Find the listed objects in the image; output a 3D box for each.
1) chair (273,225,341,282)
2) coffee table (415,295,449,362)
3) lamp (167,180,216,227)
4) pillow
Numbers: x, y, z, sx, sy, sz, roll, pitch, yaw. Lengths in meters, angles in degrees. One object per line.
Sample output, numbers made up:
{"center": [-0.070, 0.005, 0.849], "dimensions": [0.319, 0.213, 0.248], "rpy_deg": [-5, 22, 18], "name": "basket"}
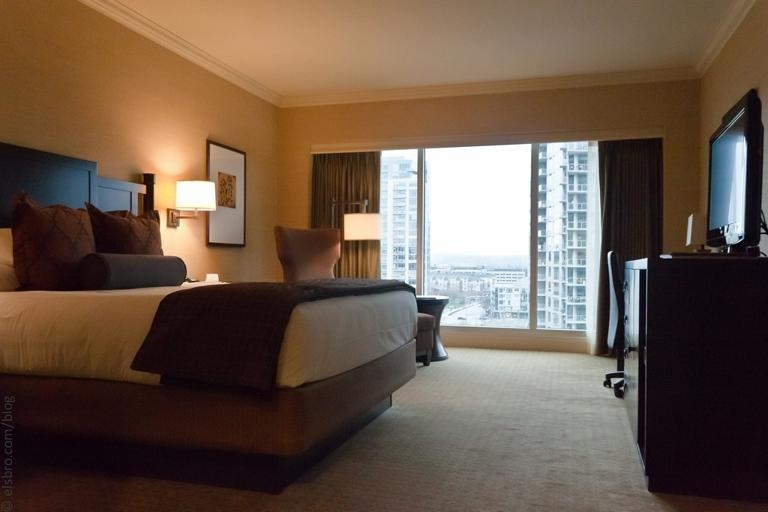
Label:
{"center": [-0.973, -0.047, 6.318], "dimensions": [0.721, 0.750, 0.648], "rpy_deg": [2, -3, -43], "name": "chair"}
{"center": [0.533, 0.792, 6.057], "dimensions": [0.584, 0.754, 0.591], "rpy_deg": [0, -7, -2], "name": "coffee table"}
{"center": [-1.910, -0.503, 5.584], "dimensions": [0.529, 0.509, 0.425], "rpy_deg": [-1, -2, 11], "name": "lamp"}
{"center": [-2.034, -0.057, 3.859], "dimensions": [0.725, 0.668, 1.003], "rpy_deg": [0, -3, 21], "name": "pillow"}
